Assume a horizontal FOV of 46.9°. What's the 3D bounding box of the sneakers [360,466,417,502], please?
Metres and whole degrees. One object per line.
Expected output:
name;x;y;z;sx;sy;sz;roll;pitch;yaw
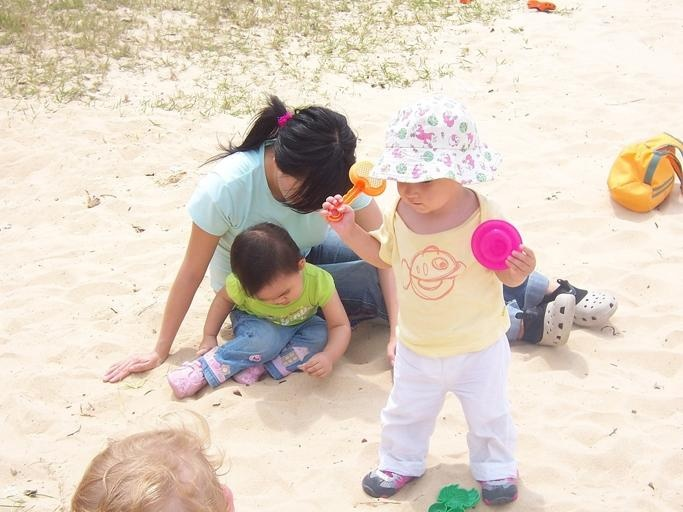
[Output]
sneakers;0.246;1.245;4.278;0.332;0.098;0.131;0;-7;2

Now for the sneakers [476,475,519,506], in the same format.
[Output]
sneakers;0.831;1.257;4.196;0.233;0.089;0.104;-9;60;5

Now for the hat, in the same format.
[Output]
hat;0.458;-0.562;3.976;0.563;0.255;0.523;1;18;1

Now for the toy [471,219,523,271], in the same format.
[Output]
toy;0.778;-0.037;4.015;0.183;0.280;0.204;-22;32;-34

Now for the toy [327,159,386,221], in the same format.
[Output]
toy;0.050;-0.369;4.293;0.411;0.231;0.068;-39;12;-10

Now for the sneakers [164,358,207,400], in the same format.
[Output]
sneakers;-0.936;0.758;4.789;0.272;0.152;0.099;-31;2;-31

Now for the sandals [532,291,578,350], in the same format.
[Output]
sandals;1.351;0.407;4.947;0.151;0.326;0.190;3;16;-38

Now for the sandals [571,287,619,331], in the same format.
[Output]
sandals;1.669;0.354;5.165;0.228;0.108;0.293;-3;23;40
